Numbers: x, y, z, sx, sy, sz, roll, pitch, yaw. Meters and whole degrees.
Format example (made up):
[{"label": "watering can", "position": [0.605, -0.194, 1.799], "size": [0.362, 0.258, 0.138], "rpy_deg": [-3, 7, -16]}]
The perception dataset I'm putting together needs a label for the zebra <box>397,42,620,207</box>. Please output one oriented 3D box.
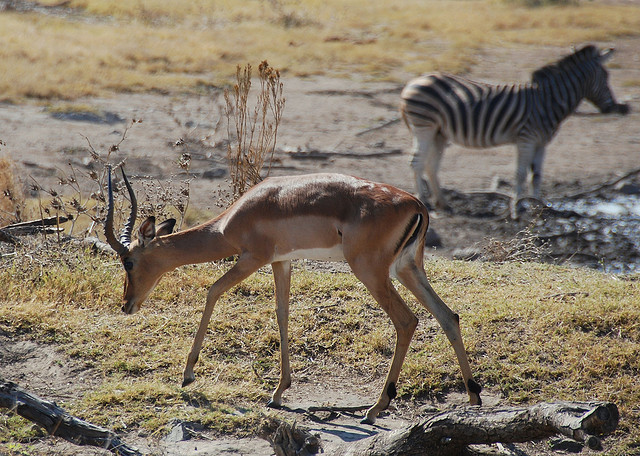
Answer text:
[{"label": "zebra", "position": [3.696, -1.919, 19.322], "size": [4.339, 2.783, 1.221], "rpy_deg": [-1, 8, 5]}]
